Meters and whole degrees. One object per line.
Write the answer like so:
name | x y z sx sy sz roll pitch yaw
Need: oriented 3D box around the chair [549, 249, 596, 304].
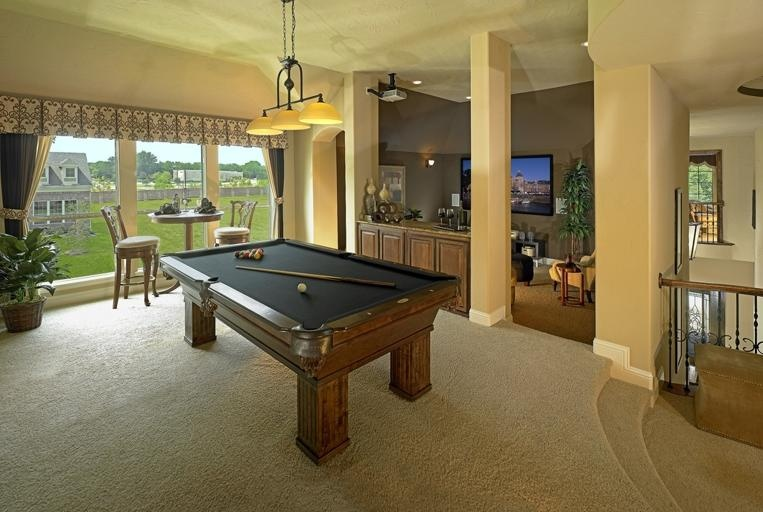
chair | 3.161 0.501 8.381 0.474 0.537 0.479 -7 6 -4

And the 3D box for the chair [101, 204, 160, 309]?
chair | -3.802 -0.008 7.680 0.716 1.453 1.009 -4 9 -29

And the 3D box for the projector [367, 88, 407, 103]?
projector | 0.038 -2.630 8.407 0.588 0.221 0.916 0 8 -6

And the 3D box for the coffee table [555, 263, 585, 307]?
coffee table | 3.136 0.464 8.428 0.603 0.653 0.563 1 2 5

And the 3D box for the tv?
tv | 2.285 -1.189 8.646 1.553 1.078 0.064 4 6 40

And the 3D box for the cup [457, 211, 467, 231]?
cup | 1.179 -0.505 7.313 0.152 0.279 0.300 1 8 7

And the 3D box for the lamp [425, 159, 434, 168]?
lamp | 1.079 -1.996 11.119 0.094 0.178 0.295 6 9 33

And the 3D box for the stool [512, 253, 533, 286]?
stool | 2.570 0.232 9.384 0.513 0.443 0.519 -13 16 -42

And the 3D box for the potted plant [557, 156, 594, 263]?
potted plant | 3.758 -0.885 9.739 0.657 1.857 0.505 4 9 26
